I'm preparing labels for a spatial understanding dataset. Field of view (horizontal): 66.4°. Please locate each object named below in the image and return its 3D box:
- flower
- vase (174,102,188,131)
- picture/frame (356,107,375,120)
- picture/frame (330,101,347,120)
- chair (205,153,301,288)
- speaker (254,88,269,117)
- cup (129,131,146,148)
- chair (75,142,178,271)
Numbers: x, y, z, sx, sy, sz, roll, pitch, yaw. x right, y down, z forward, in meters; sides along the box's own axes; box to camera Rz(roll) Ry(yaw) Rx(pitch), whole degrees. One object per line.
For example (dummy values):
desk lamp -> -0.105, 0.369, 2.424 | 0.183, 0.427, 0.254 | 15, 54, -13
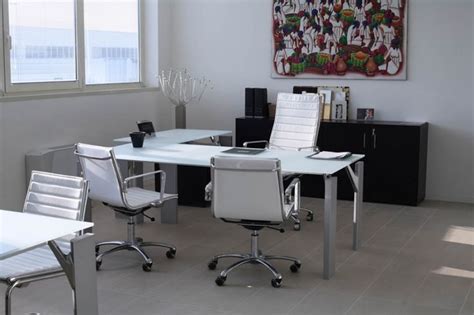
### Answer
flower -> -1.032, -1.419, 7.044 | 0.917, 0.566, 0.801 | -6, 12, -32
vase -> -1.043, -0.747, 6.546 | 0.180, 0.414, 0.133 | 1, 11, 4
picture/frame -> 2.128, -0.732, 6.022 | 0.219, 0.158, 0.022 | 4, 7, 22
picture/frame -> 1.706, -0.799, 6.102 | 0.312, 0.398, 0.031 | 0, 6, 7
chair -> 0.144, 0.549, 3.510 | 0.852, 1.140, 0.912 | 0, 1, 15
speaker -> 0.432, -0.975, 6.451 | 0.249, 0.423, 0.266 | -2, 8, 6
cup -> -1.234, -0.225, 4.581 | 0.205, 0.173, 0.185 | 5, 12, 16
chair -> -1.192, 0.495, 3.870 | 0.890, 1.224, 0.911 | 4, 4, 32
